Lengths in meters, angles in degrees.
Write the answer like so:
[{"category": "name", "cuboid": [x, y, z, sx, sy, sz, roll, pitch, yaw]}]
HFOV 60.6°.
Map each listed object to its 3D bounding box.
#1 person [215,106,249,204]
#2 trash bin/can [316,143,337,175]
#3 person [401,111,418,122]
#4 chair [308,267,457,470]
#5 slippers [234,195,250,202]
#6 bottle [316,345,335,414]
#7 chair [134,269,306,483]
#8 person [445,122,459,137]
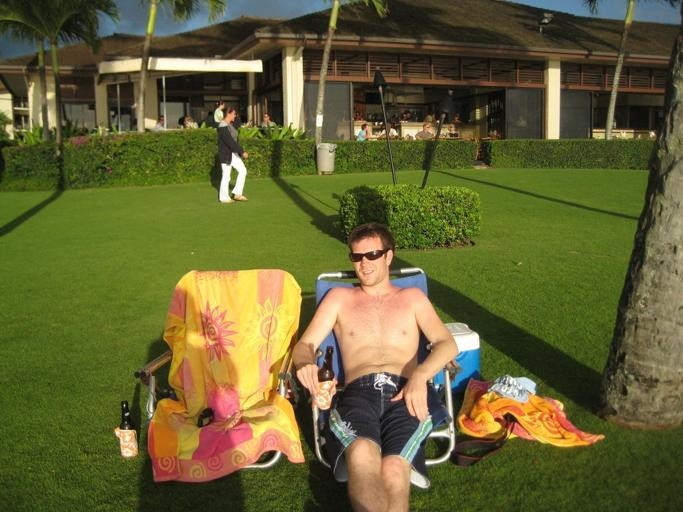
[{"category": "person", "cuboid": [-2.374, -2.174, 12.596, 0.600, 1.950, 1.470, -3, 13, -11]}, {"category": "trash bin/can", "cuboid": [-0.536, -2.868, 17.049, 0.678, 0.993, 0.719, -1, 18, -4]}, {"category": "person", "cuboid": [3.209, -6.547, 27.340, 0.795, 0.253, 1.009, 1, 23, 5]}, {"category": "chair", "cuboid": [0.342, 1.065, 5.655, 1.016, 2.172, 1.066, 0, 8, 8]}, {"category": "slippers", "cuboid": [-2.228, -1.253, 12.750, 0.267, 0.148, 0.135, 4, 10, 39]}, {"category": "bottle", "cuboid": [-0.105, 0.952, 4.512, 0.141, 0.470, 0.151, 0, -9, 0]}, {"category": "chair", "cuboid": [-0.855, 0.908, 4.704, 1.183, 0.915, 1.868, 2, 18, -3]}, {"category": "person", "cuboid": [4.772, -5.412, 25.179, 0.436, 0.591, 1.494, 7, 17, 28]}]
